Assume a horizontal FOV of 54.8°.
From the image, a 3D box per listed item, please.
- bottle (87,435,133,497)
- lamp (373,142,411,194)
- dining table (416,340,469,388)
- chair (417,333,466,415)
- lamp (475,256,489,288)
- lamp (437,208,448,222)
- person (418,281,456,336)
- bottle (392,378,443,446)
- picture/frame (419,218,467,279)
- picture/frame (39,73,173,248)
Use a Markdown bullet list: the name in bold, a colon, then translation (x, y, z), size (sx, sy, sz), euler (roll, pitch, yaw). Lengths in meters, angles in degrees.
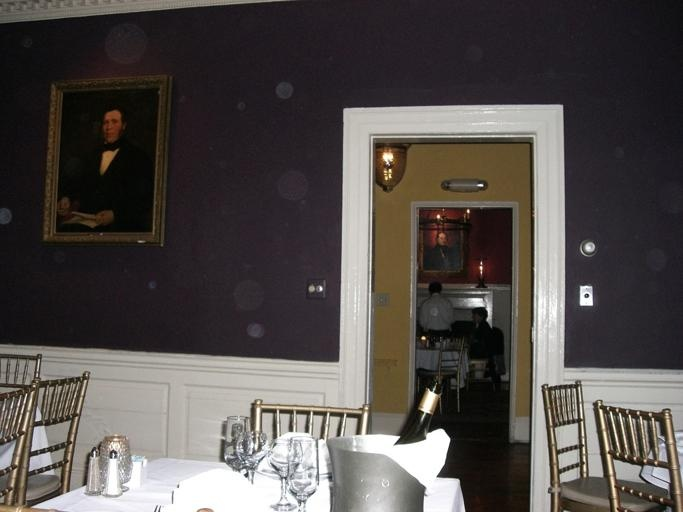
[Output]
- **bottle**: translation (-1.007, 0.922, 2.956), size (0.196, 0.304, 0.203), euler (2, -2, 0)
- **lamp**: translation (0.495, -0.973, 6.829), size (0.383, 0.606, 0.485), euler (3, 19, 4)
- **dining table**: translation (1.269, 1.487, 8.584), size (0.493, 0.884, 0.578), euler (4, 0, -3)
- **chair**: translation (1.271, 1.509, 8.550), size (0.458, 0.924, 0.513), euler (3, -4, -29)
- **lamp**: translation (2.387, 0.295, 11.199), size (0.207, 0.527, 0.147), euler (4, -9, -10)
- **lamp**: translation (1.665, -0.672, 10.945), size (0.229, 0.232, 0.110), euler (7, -10, -25)
- **person**: translation (1.395, 0.731, 9.666), size (0.663, 1.147, 0.607), euler (0, 4, 12)
- **bottle**: translation (0.290, 0.604, 2.555), size (0.153, 0.257, 0.363), euler (2, -10, 5)
- **picture/frame**: translation (1.663, -0.118, 11.078), size (0.763, 1.047, 0.087), euler (0, 21, 10)
- **picture/frame**: translation (-1.752, -0.697, 5.035), size (1.119, 1.571, 0.069), euler (0, -2, 19)
